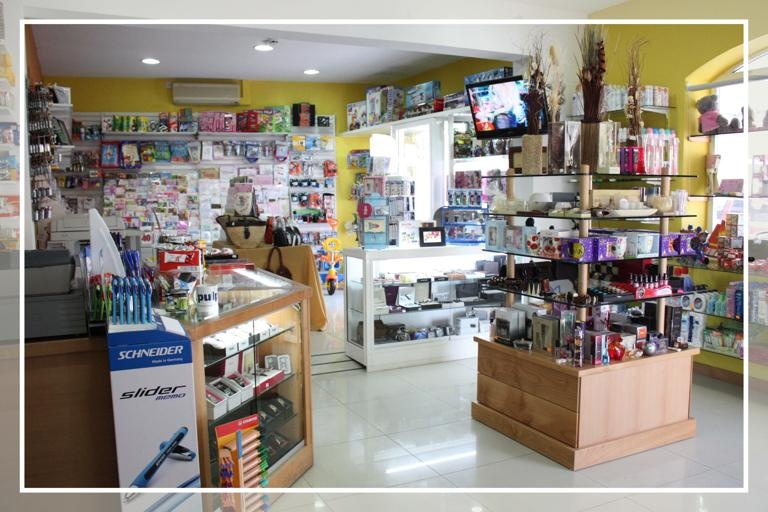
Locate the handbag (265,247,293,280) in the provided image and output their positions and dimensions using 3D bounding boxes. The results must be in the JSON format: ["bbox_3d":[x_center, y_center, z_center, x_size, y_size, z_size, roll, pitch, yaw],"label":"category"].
[{"bbox_3d":[-1.295,0.083,6.538,0.413,0.509,0.106,-3,20,-13],"label":"handbag"}]

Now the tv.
[{"bbox_3d":[1.287,-1.528,5.522,0.867,0.595,0.091,6,24,40],"label":"tv"}]

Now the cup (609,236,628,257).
[{"bbox_3d":[1.894,-0.083,4.372,0.103,0.158,0.144,14,33,22],"label":"cup"}]

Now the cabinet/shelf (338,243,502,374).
[{"bbox_3d":[0.539,0.562,6.443,1.884,1.305,0.600,-3,5,-25],"label":"cabinet/shelf"}]

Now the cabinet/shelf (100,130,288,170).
[{"bbox_3d":[-3.317,-1.864,9.472,3.072,0.625,0.245,-3,15,-11],"label":"cabinet/shelf"}]

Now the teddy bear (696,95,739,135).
[{"bbox_3d":[3.619,-1.531,5.844,0.447,0.413,0.272,0,11,23],"label":"teddy bear"}]

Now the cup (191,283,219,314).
[{"bbox_3d":[-1.200,0.292,3.650,0.146,0.175,0.165,-6,15,-21],"label":"cup"}]
